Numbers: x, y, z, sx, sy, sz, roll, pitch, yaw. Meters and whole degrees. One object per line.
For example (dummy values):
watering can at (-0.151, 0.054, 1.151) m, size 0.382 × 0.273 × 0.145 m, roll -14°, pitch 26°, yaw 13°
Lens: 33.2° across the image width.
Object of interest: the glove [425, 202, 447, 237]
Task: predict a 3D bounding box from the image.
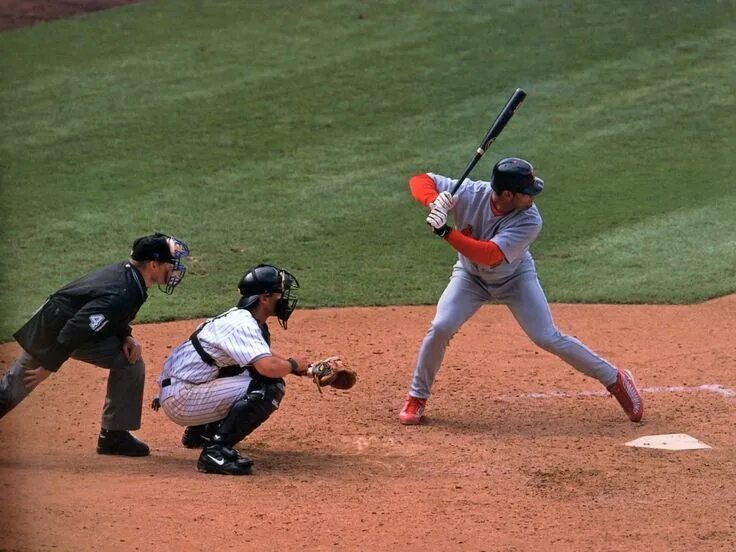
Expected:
glove at (0.633, -0.479, 11.090) m, size 0.234 × 0.230 × 0.138 m, roll 4°, pitch -13°, yaw 23°

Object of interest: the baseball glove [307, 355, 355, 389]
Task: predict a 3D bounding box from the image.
baseball glove at (-0.337, 0.875, 11.049) m, size 0.324 × 0.202 × 0.407 m, roll -24°, pitch -18°, yaw 3°

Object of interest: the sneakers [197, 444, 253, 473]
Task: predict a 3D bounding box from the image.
sneakers at (-1.200, 1.580, 10.599) m, size 0.510 × 0.218 × 0.209 m, roll 0°, pitch 3°, yaw 1°

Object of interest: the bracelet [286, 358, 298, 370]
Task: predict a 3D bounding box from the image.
bracelet at (-0.650, 0.763, 10.668) m, size 0.089 × 0.093 × 0.097 m, roll -7°, pitch -33°, yaw -33°

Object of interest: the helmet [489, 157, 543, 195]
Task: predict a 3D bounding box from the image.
helmet at (1.315, -0.896, 11.093) m, size 0.515 × 0.222 × 0.286 m, roll -1°, pitch 35°, yaw 2°

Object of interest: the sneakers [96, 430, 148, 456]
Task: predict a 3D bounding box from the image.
sneakers at (-2.176, 1.470, 10.781) m, size 0.485 × 0.161 × 0.192 m, roll 1°, pitch 2°, yaw 0°

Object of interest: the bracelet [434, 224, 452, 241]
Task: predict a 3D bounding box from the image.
bracelet at (0.666, -0.382, 11.069) m, size 0.146 × 0.116 × 0.169 m, roll -9°, pitch -20°, yaw 26°
